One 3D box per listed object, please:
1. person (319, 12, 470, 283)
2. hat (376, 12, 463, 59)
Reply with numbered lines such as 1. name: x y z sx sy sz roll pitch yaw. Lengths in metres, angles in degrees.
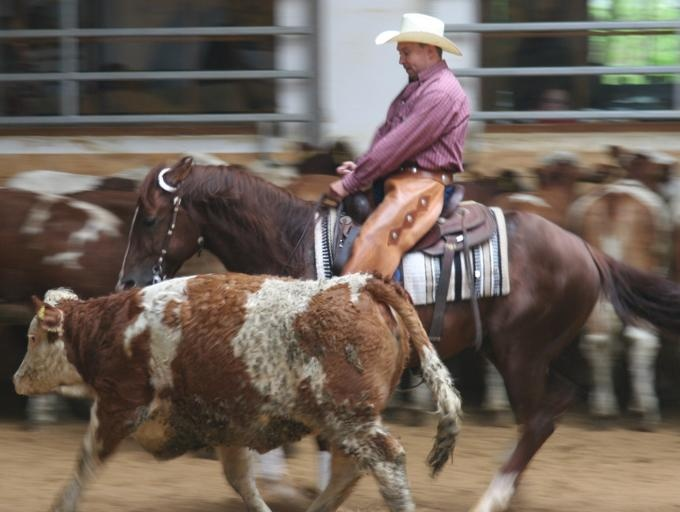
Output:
1. person: 0.404 -0.748 8.136 0.923 1.700 0.578 -2 10 -13
2. hat: 0.549 -1.487 8.200 0.453 0.169 0.338 10 3 -16
